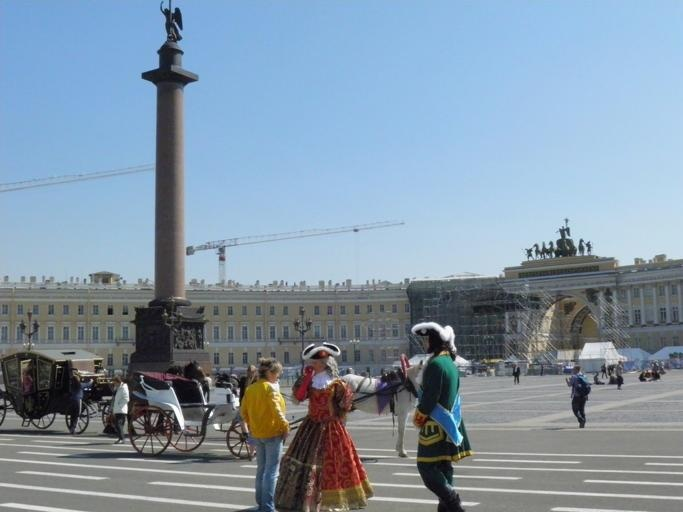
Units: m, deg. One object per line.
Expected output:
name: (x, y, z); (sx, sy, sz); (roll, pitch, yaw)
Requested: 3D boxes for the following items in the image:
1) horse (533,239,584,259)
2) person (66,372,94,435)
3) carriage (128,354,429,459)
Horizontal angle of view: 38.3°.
horse: (19.447, -0.508, 86.514); (2.993, 0.925, 1.916); (2, -6, -8)
person: (-7.036, 3.831, 26.675); (0.503, 1.511, 0.469); (2, 15, -14)
carriage: (-2.330, 3.160, 22.136); (7.965, 2.794, 2.601); (-4, -7, 7)
